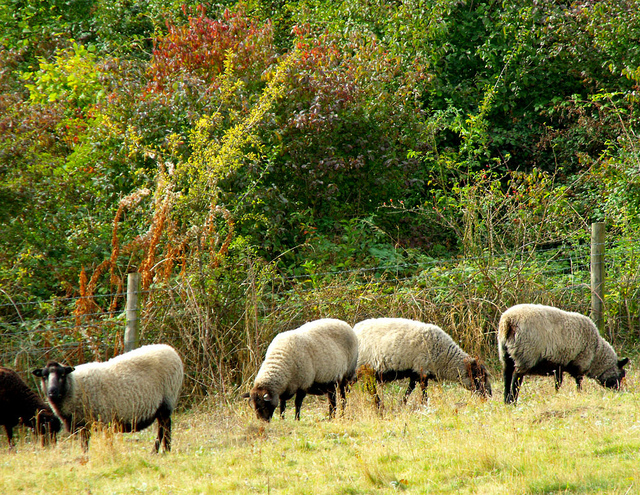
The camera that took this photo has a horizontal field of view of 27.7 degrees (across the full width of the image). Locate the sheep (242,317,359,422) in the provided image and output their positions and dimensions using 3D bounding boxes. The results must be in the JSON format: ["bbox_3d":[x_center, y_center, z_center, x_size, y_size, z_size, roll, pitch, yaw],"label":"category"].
[{"bbox_3d":[-0.231,2.302,22.972,2.479,1.974,1.147,-13,19,-40],"label":"sheep"}]
